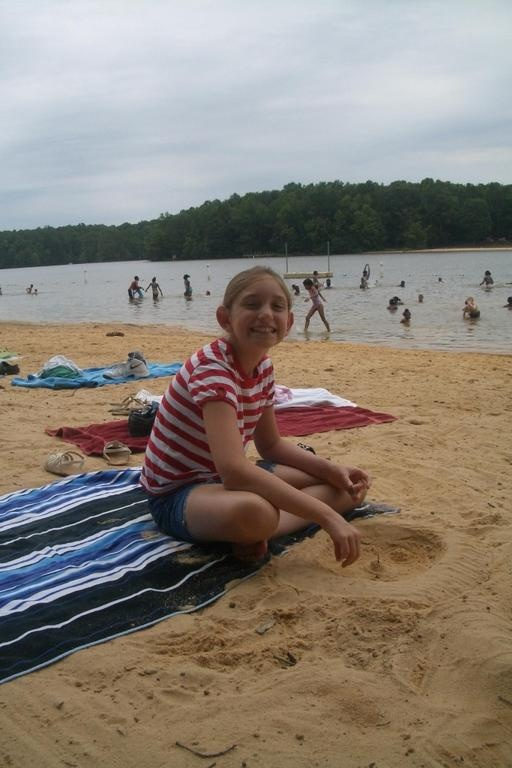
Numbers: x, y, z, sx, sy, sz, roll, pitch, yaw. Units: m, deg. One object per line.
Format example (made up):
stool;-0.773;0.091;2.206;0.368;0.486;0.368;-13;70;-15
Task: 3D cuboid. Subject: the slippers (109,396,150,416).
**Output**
slippers;-1.343;0.195;7.344;0.400;0.109;0.296;-7;11;-19

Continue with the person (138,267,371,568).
person;0.083;0.118;3.478;1.221;1.338;1.234;10;11;39

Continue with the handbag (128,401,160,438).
handbag;-0.931;0.297;5.706;0.240;0.253;0.296;7;19;8

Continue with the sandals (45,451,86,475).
sandals;-1.447;0.585;5.194;0.294;0.154;0.486;-3;10;-15
